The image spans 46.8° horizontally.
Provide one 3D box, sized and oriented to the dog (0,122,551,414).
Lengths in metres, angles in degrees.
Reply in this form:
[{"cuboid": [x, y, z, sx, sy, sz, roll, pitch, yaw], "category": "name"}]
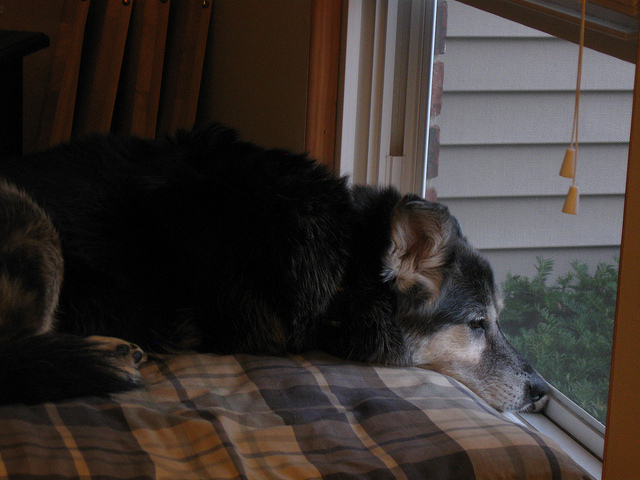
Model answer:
[{"cuboid": [0.077, 0.102, 2.558, 1.989, 1.049, 0.748, 7, -7, -6], "category": "dog"}]
